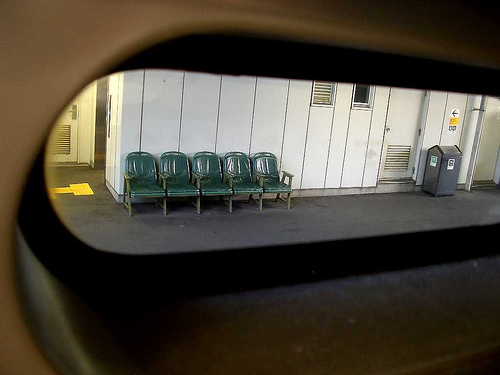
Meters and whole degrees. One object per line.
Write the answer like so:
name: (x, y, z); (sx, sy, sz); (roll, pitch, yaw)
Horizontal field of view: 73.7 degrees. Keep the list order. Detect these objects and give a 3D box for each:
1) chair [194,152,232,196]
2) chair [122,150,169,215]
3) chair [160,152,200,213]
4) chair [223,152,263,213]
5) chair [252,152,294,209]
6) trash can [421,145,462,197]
chair: (-0.842, -0.269, 7.098); (0.822, 0.935, 0.886); (-3, 5, 7)
chair: (-2.150, -0.102, 6.814); (0.918, 1.178, 0.973); (-2, 15, -22)
chair: (-1.482, -0.098, 6.880); (0.757, 1.131, 1.033); (-1, 11, -23)
chair: (-0.182, -0.126, 7.479); (0.851, 1.198, 0.835); (1, 15, -11)
chair: (0.465, -0.139, 7.615); (0.836, 1.154, 0.978); (0, 10, -15)
trash can: (5.786, -0.471, 9.936); (0.907, 1.440, 0.482); (3, 14, -3)
